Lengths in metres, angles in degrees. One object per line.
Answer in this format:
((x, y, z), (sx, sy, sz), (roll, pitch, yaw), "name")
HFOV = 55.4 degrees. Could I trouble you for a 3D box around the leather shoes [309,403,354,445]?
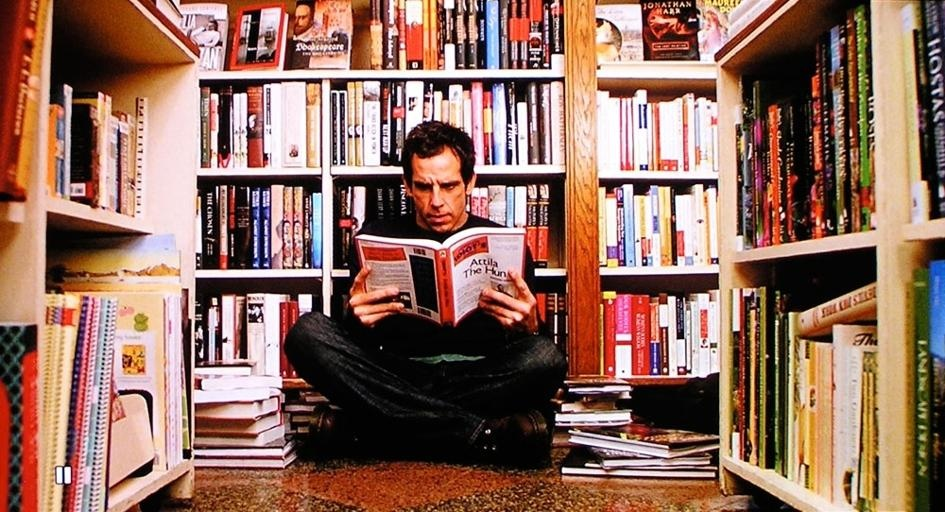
((-0.495, 0.603, 3.155), (0.050, 0.127, 0.133), (-15, -29, 25), "leather shoes")
